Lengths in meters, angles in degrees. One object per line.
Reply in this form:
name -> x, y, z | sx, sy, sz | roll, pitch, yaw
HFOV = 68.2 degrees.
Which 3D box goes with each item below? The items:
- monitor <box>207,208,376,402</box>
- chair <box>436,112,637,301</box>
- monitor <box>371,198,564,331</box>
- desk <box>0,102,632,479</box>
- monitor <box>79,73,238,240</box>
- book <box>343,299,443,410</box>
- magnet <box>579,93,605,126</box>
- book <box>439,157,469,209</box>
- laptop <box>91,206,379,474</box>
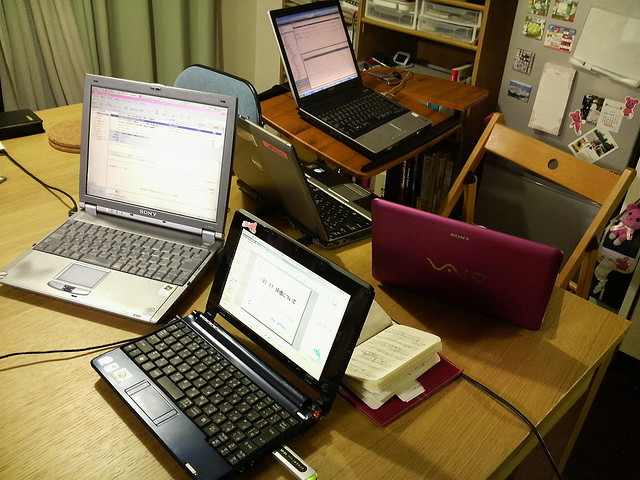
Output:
monitor -> -0.074, 0.156, 1.044 | 0.347, 0.246, 0.028 | 32, 13, 29
chair -> 0.869, -0.145, 1.791 | 0.504, 0.676, 0.514 | 33, 69, 24
monitor -> 0.390, -0.026, 1.243 | 0.434, 0.294, 0.310 | 17, 48, 22
desk -> -0.044, 0.113, 1.205 | 1.211, 0.612, 0.811 | 27, 31, 35
monitor -> -0.387, -0.258, 1.456 | 0.545, 0.402, 0.423 | 13, 19, 21
book -> 0.160, 0.238, 1.048 | 0.210, 0.077, 0.213 | 34, 55, 30
magnet -> 1.241, -0.597, 2.146 | 0.100, 0.098, 0.083 | 33, 54, 26
book -> 0.738, -0.336, 2.629 | 0.080, 0.246, 0.355 | 11, 75, -6
laptop -> -0.182, 0.188, 0.953 | 0.427, 0.254, 0.428 | 31, 45, 33
